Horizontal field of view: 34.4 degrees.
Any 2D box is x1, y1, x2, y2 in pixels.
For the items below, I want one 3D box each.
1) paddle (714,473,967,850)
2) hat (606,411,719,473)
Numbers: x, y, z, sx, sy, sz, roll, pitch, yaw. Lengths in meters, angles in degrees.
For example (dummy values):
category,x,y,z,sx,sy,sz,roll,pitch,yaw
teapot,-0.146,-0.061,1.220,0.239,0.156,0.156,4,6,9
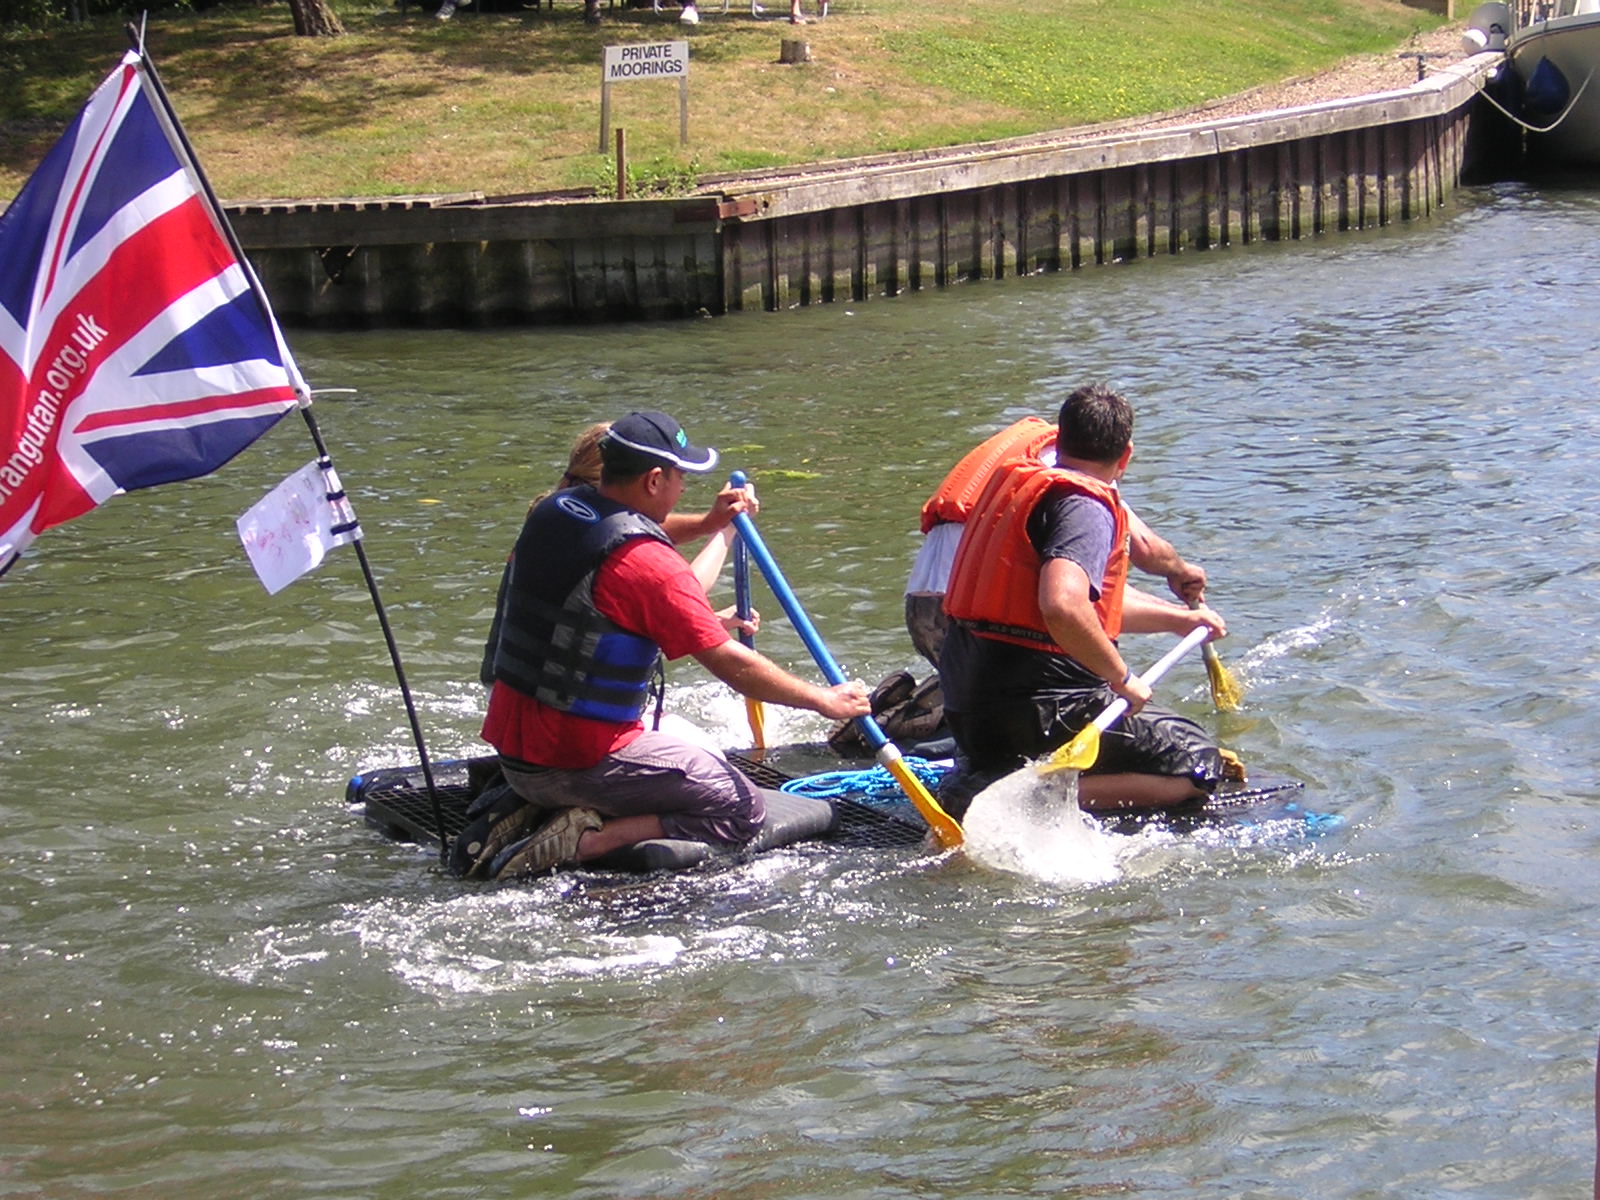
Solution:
category,x,y,z,sx,sy,sz,roll,pitch,yaw
paddle,0.231,0.413,14.638,0.237,0.423,3.024,-16,55,-41
hat,-0.633,-0.765,12.878,0.531,0.148,0.290,13,17,-24
